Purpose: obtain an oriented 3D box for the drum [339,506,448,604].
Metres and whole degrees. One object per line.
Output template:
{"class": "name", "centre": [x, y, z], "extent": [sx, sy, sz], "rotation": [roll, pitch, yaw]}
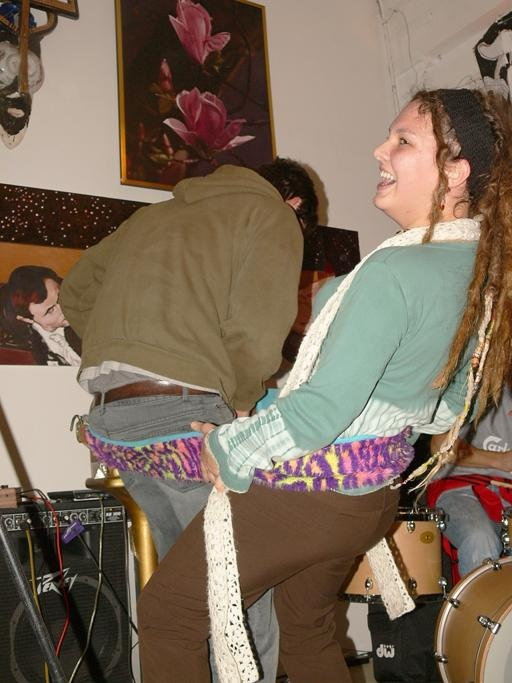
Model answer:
{"class": "drum", "centre": [0.454, 0.776, 2.542], "extent": [0.366, 0.287, 0.372], "rotation": [5, -10, 1]}
